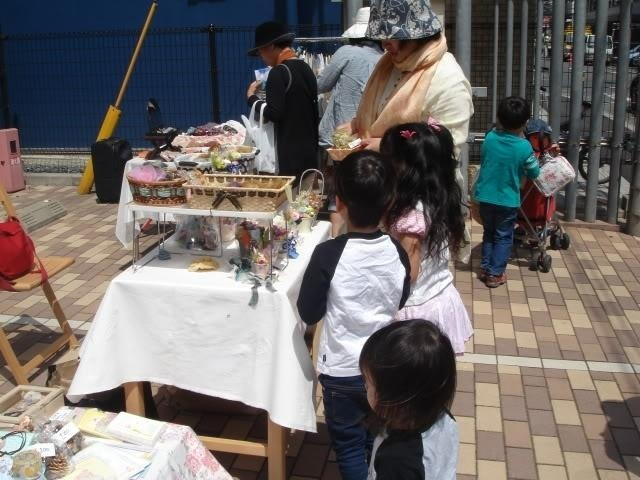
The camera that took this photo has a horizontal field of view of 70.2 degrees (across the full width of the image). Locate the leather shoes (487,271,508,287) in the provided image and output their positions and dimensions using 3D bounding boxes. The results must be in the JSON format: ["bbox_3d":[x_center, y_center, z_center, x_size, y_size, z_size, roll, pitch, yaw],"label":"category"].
[{"bbox_3d":[2.082,0.464,5.319,0.105,0.129,0.265,14,24,43],"label":"leather shoes"}]

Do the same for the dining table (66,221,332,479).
[{"bbox_3d":[-0.602,0.502,2.954,1.244,0.618,1.253,8,14,13],"label":"dining table"}]

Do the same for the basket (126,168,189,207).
[{"bbox_3d":[-0.957,-0.321,2.690,0.341,0.211,0.258,-4,19,-11],"label":"basket"}]

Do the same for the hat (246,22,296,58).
[{"bbox_3d":[-0.501,-2.194,4.838,0.448,0.172,0.383,-29,11,-38],"label":"hat"}]

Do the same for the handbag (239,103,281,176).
[{"bbox_3d":[-0.664,-1.082,4.847,0.344,0.757,0.451,-13,23,-34],"label":"handbag"}]

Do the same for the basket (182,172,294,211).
[{"bbox_3d":[-0.476,-0.312,2.773,0.607,0.177,0.515,2,19,5],"label":"basket"}]
